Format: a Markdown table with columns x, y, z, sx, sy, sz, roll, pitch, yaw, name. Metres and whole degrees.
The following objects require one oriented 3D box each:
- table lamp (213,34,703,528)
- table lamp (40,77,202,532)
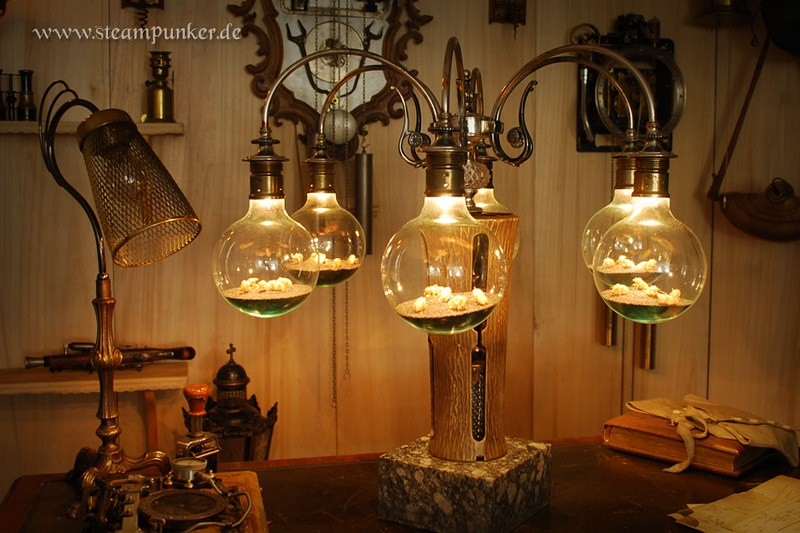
| x | y | z | sx | sy | sz | roll | pitch | yaw | name |
| --- | --- | --- | --- | --- | --- | --- | --- | --- | --- |
| 0.171 | 0.144 | 2.798 | 1.671 | 1.658 | 1.720 | 1 | 3 | 16 | table lamp |
| -1.072 | 0.002 | 2.767 | 0.536 | 1.538 | 1.266 | -7 | 11 | -20 | table lamp |
